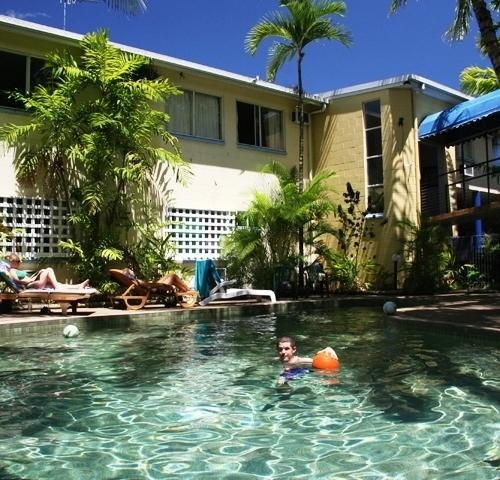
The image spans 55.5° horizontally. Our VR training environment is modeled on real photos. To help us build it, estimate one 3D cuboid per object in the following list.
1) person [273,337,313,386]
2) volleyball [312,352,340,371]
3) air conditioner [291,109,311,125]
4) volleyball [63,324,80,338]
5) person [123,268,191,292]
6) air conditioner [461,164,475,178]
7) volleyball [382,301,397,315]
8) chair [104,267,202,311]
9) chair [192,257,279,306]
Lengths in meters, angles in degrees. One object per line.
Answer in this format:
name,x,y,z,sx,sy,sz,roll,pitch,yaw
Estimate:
person,0.480,1.236,4.996,0.374,0.409,0.985,1,0,5
volleyball,0.796,1.298,5.031,0.186,0.138,0.179,5,4,-41
air conditioner,1.801,-4.172,16.936,0.441,0.565,0.831,-3,-4,32
volleyball,-2.753,1.393,7.235,0.200,0.204,0.292,1,0,-25
person,-2.082,0.933,10.484,1.598,0.549,0.595,6,-14,-27
air conditioner,8.735,-2.805,18.934,0.336,0.461,3.186,1,0,26
volleyball,2.546,1.252,8.653,0.216,0.218,0.224,-8,-20,36
chair,-1.881,1.021,10.558,1.827,0.762,1.114,-2,10,25
chair,-0.423,1.077,11.754,1.939,1.172,1.174,1,-8,-4
